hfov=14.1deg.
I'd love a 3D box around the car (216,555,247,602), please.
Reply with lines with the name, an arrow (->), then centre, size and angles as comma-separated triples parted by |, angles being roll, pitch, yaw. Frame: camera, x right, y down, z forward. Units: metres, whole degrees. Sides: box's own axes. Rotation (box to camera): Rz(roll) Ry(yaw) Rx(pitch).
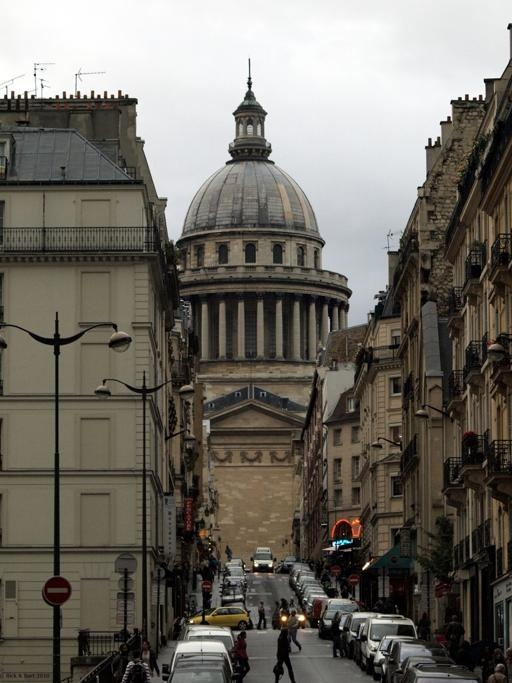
car -> -1.367, 13.181, 113.871 | 1.091, 1.687, 4.473 | -1, -13, 0

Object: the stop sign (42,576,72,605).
stop sign -> -4.299, 5.305, 44.460 | 0.530, 0.692, 1.240 | 0, -16, -3
